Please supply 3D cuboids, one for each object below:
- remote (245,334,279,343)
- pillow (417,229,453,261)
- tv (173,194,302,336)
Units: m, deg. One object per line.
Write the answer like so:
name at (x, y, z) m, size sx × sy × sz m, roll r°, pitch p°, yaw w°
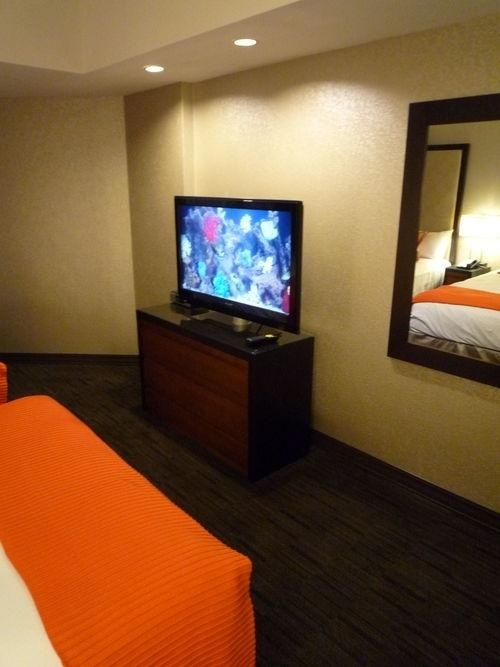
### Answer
remote at (0.053, 0.021, 2.045) m, size 0.097 × 0.022 × 0.050 m, roll -11°, pitch 17°, yaw -39°
pillow at (0.660, -0.325, 1.811) m, size 0.030 × 0.098 × 0.102 m, roll -5°, pitch 18°, yaw -27°
tv at (-0.042, -0.305, 2.226) m, size 0.632 × 0.440 × 0.068 m, roll 20°, pitch 30°, yaw 39°
